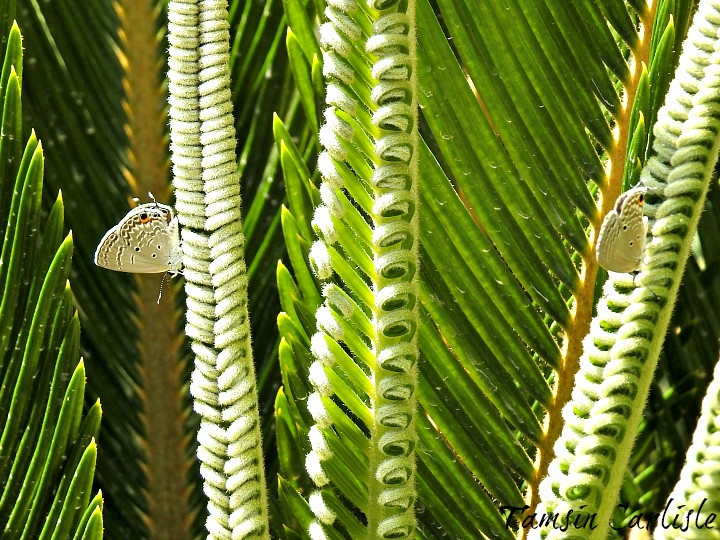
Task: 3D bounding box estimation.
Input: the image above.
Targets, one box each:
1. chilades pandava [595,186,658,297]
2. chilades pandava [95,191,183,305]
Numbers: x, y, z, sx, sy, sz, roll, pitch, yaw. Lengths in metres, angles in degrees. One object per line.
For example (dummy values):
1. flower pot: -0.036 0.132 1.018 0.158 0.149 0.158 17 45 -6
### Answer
1. chilades pandava: 0.342 -0.046 1.618 0.042 0.103 0.089 1 17 25
2. chilades pandava: -0.309 -0.026 1.734 0.078 0.110 0.137 -7 10 27
